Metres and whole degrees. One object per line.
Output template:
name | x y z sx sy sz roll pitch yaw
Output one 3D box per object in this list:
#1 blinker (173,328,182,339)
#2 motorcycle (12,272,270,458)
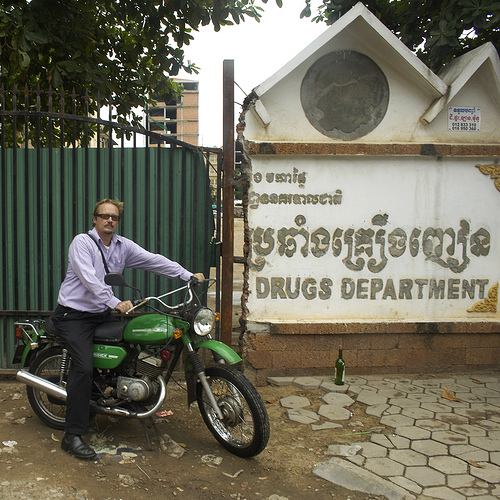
blinker | -0.595 0.673 5.218 0.079 0.060 0.066 3 -5 0
motorcycle | -1.044 0.954 5.533 2.682 1.304 0.940 0 -11 31
